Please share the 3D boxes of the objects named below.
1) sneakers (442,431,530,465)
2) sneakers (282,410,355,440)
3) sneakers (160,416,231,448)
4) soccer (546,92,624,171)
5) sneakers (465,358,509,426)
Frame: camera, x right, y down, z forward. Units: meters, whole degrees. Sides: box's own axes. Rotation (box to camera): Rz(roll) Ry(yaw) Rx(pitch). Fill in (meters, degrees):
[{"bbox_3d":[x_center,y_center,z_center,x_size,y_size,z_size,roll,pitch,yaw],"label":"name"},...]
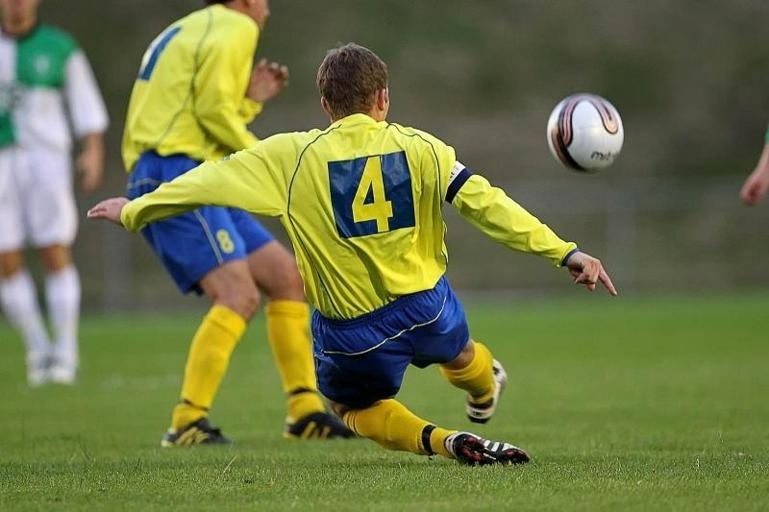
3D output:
[{"bbox_3d":[0.670,1.294,7.378,0.600,0.222,0.280,4,6,0],"label":"sneakers"},{"bbox_3d":[-0.493,1.288,8.497,0.596,0.258,0.208,1,-2,-4],"label":"sneakers"},{"bbox_3d":[-1.383,1.309,8.232,0.538,0.251,0.208,2,-1,0],"label":"sneakers"},{"bbox_3d":[1.418,-0.850,7.934,0.589,0.646,0.619,3,5,8],"label":"soccer"},{"bbox_3d":[0.746,0.992,8.001,0.260,0.477,0.180,16,5,32],"label":"sneakers"}]
